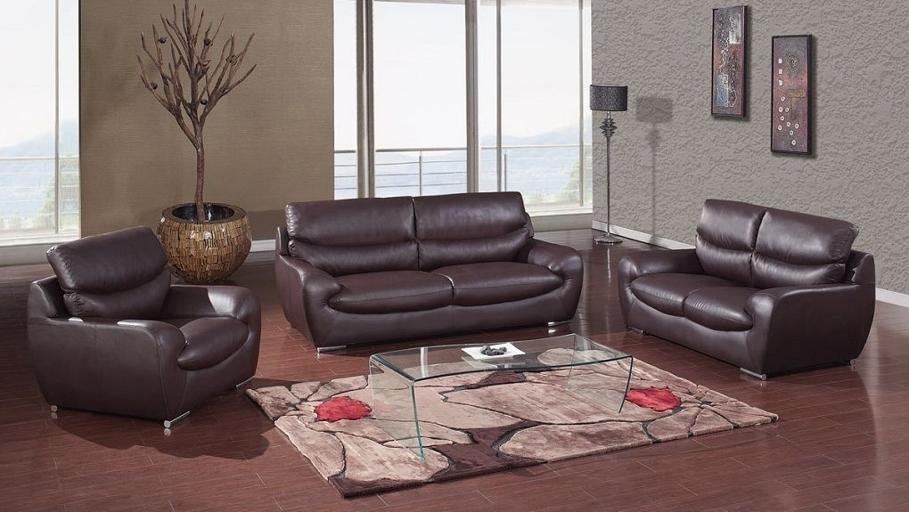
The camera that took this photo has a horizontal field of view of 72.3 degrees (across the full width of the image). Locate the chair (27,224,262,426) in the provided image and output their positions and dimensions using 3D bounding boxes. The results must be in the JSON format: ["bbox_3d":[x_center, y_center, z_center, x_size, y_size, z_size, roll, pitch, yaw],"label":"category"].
[{"bbox_3d":[-2.591,0.498,5.313,1.424,0.995,1.295,12,19,5],"label":"chair"}]

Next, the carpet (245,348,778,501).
[{"bbox_3d":[0.295,1.216,5.053,3.620,0.240,1.518,-5,14,-14],"label":"carpet"}]

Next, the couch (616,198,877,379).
[{"bbox_3d":[2.842,0.212,6.232,1.455,1.096,1.919,-17,18,-17],"label":"couch"}]

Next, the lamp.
[{"bbox_3d":[2.427,-1.481,9.922,0.575,2.435,1.278,2,19,13],"label":"lamp"}]
